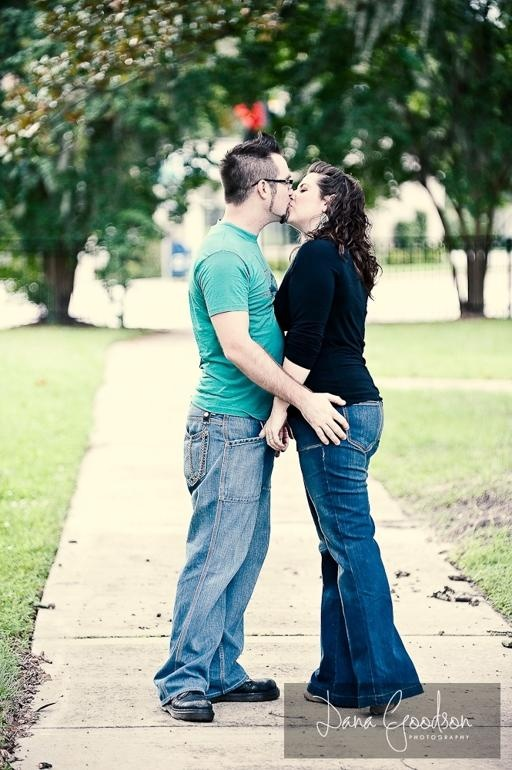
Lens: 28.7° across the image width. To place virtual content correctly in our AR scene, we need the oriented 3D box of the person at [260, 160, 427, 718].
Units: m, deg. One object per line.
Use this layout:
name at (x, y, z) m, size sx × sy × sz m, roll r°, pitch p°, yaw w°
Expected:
person at (0.282, 0.177, 3.588) m, size 0.529 × 1.964 × 0.562 m, roll -2°, pitch 9°, yaw -4°

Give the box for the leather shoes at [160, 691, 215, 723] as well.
leather shoes at (-0.224, 1.128, 3.487) m, size 0.079 × 0.065 × 0.180 m, roll 3°, pitch -2°, yaw -12°

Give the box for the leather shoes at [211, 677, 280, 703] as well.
leather shoes at (-0.037, 1.143, 3.755) m, size 0.257 × 0.084 × 0.087 m, roll -7°, pitch 2°, yaw -6°
